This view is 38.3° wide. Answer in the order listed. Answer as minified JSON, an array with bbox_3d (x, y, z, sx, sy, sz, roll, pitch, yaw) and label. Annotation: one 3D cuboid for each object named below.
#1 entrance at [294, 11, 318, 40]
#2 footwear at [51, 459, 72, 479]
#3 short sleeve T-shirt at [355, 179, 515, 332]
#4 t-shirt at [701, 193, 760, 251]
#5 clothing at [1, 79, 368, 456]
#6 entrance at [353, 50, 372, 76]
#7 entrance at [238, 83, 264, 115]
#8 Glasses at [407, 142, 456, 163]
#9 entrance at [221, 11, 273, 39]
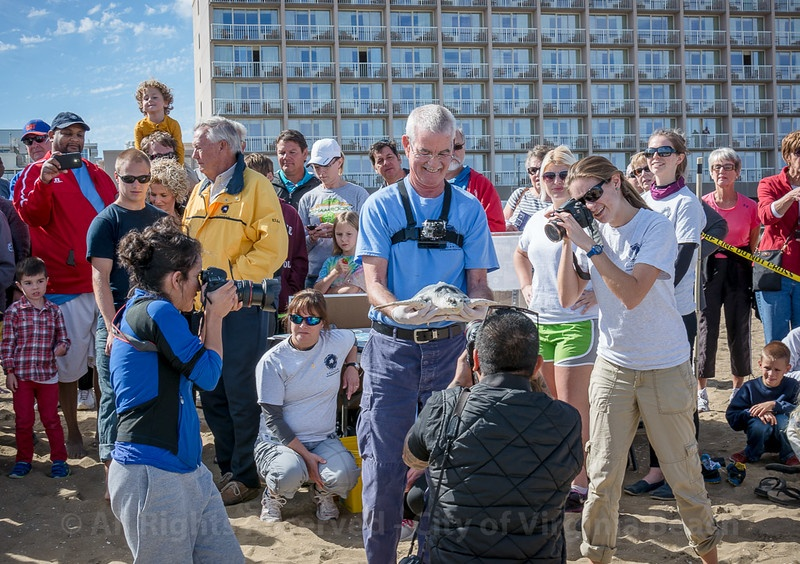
[{"bbox_3d":[-4.230,-11.320,50.876,1.104,1.763,0.103,1,-8,-23],"label":"entrance"},{"bbox_3d":[-3.901,2.140,13.160,0.097,0.157,0.315,2,1,-4],"label":"footwear"},{"bbox_3d":[0.261,-0.267,11.671,1.327,1.668,0.769,3,-17,-6],"label":"short sleeve T-shirt"},{"bbox_3d":[4.417,-0.788,15.266,0.703,0.781,0.453,7,43,36],"label":"t-shirt"},{"bbox_3d":[-2.432,0.107,12.782,4.172,4.818,1.156,3,1,-12],"label":"clothing"},{"bbox_3d":[-1.721,-9.816,51.633,0.746,1.276,0.528,-3,2,-5],"label":"entrance"},{"bbox_3d":[-6.580,-8.011,50.472,1.259,2.027,0.157,1,-24,-12],"label":"entrance"},{"bbox_3d":[0.311,-1.273,11.324,0.413,0.153,0.121,-4,3,-7],"label":"Glasses"},{"bbox_3d":[-6.573,-11.234,50.339,2.368,1.309,0.590,-4,3,-15],"label":"entrance"}]
